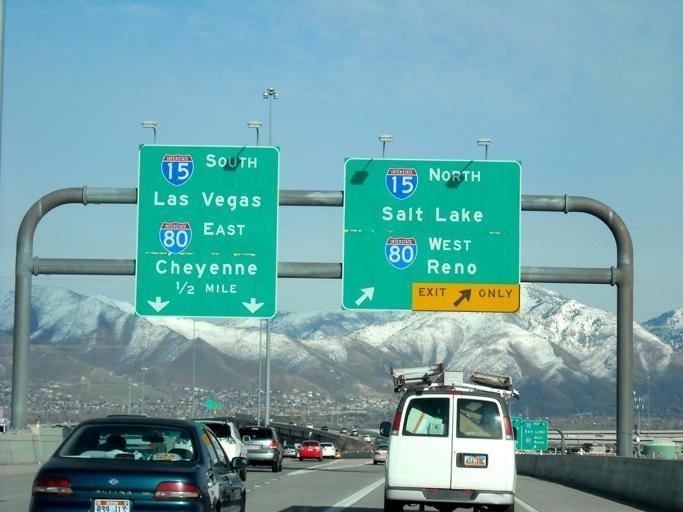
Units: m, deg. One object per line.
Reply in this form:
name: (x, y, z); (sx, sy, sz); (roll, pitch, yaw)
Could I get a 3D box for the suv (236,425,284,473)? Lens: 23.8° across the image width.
suv: (-3.592, 8.664, 72.011); (1.451, 1.624, 3.502); (0, -2, 4)

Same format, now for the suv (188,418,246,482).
suv: (-4.741, 7.748, 63.988); (1.912, 2.466, 5.031); (1, -6, 3)

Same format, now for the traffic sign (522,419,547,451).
traffic sign: (12.402, 11.718, 104.725); (2.123, 3.036, 0.376); (1, 12, -7)

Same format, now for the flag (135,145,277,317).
flag: (-5.001, -0.905, 59.900); (5.049, 6.637, 0.510); (-2, -4, 1)
